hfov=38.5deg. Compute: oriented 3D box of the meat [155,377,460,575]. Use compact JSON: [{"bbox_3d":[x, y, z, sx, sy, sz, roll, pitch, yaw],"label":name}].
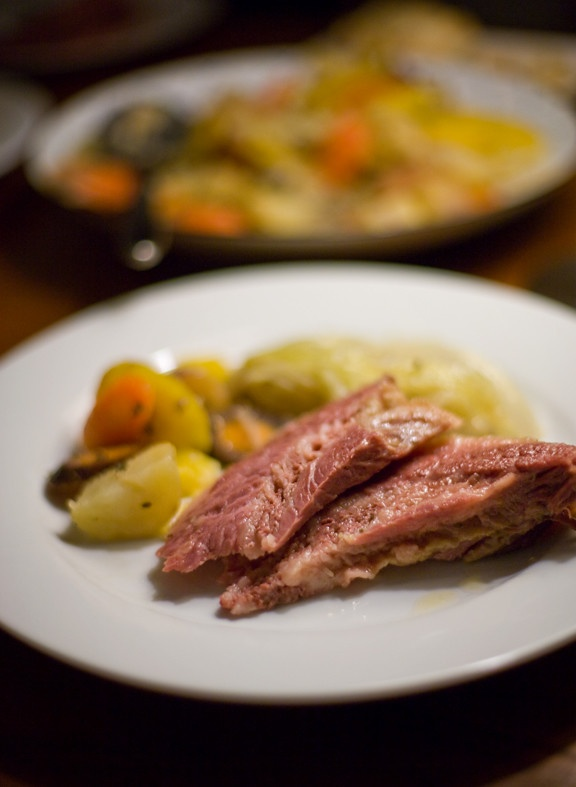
[{"bbox_3d":[0.026,0.214,1.747,0.388,0.090,0.389,-18,19,12],"label":"meat"}]
